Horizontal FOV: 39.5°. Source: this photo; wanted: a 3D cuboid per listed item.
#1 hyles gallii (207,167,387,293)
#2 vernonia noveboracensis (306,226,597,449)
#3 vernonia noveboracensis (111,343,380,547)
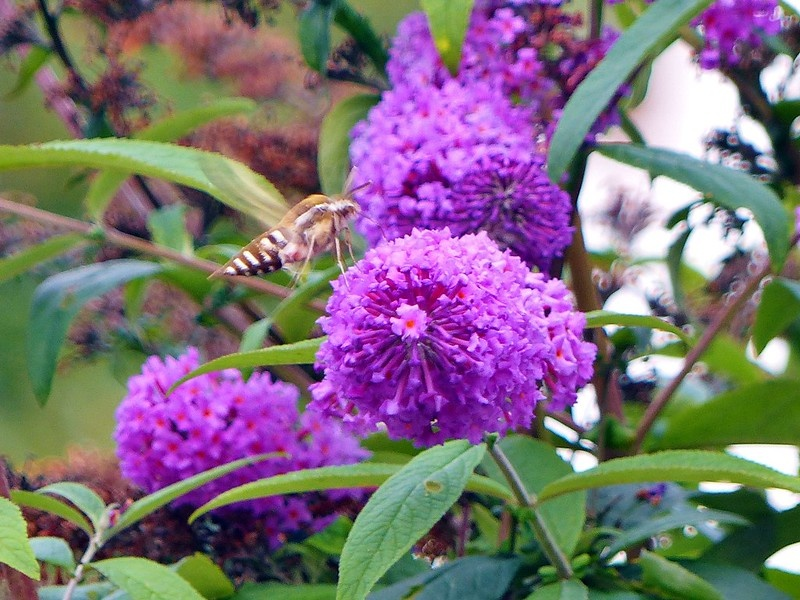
[{"bbox_3d":[-0.219,-0.140,2.380,0.382,0.222,0.109,-14,10,-13],"label":"hyles gallii"},{"bbox_3d":[0.083,0.094,2.181,0.458,0.344,0.404,-2,47,-8],"label":"vernonia noveboracensis"},{"bbox_3d":[-0.331,0.315,2.571,0.418,0.497,0.281,-12,56,37],"label":"vernonia noveboracensis"}]
